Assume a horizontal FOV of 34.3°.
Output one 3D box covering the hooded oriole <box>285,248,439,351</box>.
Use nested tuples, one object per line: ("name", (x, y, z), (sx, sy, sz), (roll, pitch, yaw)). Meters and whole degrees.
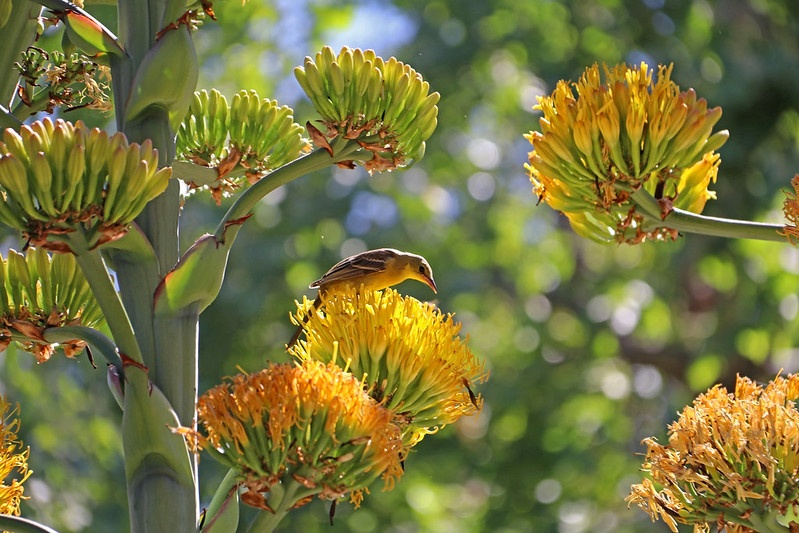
("hooded oriole", (-0.192, 0.209, 13.095), (1.074, 1.267, 0.921), (1, -3, -34))

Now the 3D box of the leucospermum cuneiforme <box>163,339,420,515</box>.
("leucospermum cuneiforme", (-0.835, 1.391, 10.786), (1.399, 1.439, 1.109), (21, 74, 23))

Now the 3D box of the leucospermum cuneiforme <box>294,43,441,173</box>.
("leucospermum cuneiforme", (-0.304, -1.355, 11.297), (1.222, 0.932, 0.663), (11, 35, -7))

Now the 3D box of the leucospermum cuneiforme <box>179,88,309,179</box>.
("leucospermum cuneiforme", (-1.414, -1.231, 11.976), (0.692, 1.159, 0.634), (1, 3, 32))

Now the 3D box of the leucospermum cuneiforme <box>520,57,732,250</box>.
("leucospermum cuneiforme", (1.858, -1.006, 11.273), (1.520, 1.488, 0.723), (17, 35, 2))
